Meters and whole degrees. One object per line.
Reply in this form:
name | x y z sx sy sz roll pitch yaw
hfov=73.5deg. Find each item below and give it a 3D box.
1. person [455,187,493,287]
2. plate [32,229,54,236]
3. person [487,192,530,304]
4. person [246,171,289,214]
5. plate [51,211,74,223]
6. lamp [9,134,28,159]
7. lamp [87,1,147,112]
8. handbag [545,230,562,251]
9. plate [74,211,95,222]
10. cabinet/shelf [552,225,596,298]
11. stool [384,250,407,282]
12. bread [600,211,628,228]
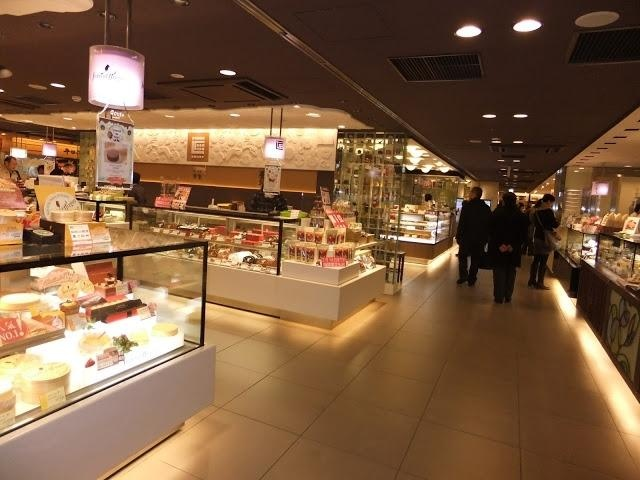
person | 3.180 -0.058 8.789 0.584 2.048 0.456 5 16 16
plate | -1.865 -0.044 2.875 0.139 0.029 0.106 14 15 41
person | 3.244 0.134 7.432 0.637 1.910 0.449 1 10 -10
person | -0.814 -0.802 7.154 0.641 0.821 0.758 2 10 -18
plate | -1.782 -0.164 2.978 0.091 0.045 0.095 6 10 17
lamp | -10.394 -3.142 14.719 0.543 0.720 2.421 -4 14 -35
lamp | -1.659 -1.520 3.482 0.391 0.953 0.709 -2 12 -25
handbag | 4.583 0.009 8.458 0.236 0.420 0.195 -1 -14 -28
plate | -1.680 -0.165 3.064 0.077 0.050 0.077 4 5 -30
cabinet/shelf | 4.706 0.396 7.862 0.370 0.837 1.213 3 9 12
stool | 1.354 0.522 7.858 0.290 0.620 0.593 7 11 17
bread | 5.359 -0.344 7.806 0.369 0.256 1.073 11 14 34
